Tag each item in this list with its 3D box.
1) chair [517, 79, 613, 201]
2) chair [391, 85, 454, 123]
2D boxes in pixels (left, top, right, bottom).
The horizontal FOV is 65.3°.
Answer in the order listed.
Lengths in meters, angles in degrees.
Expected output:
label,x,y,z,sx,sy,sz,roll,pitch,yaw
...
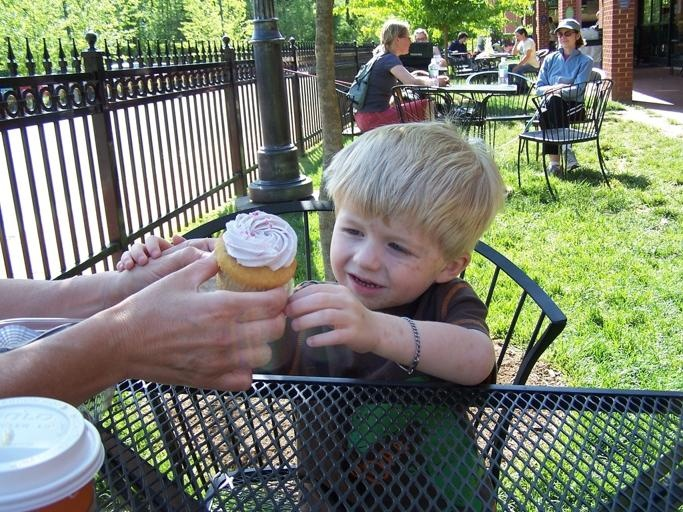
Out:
label,x,y,z,sx,sy,sz,roll,pitch,yaw
chair,3.103,-1.575,7.374,1.165,1.936,1.423,10,31,29
chair,1.114,-2.112,7.427,0.775,0.518,1.922,3,21,10
